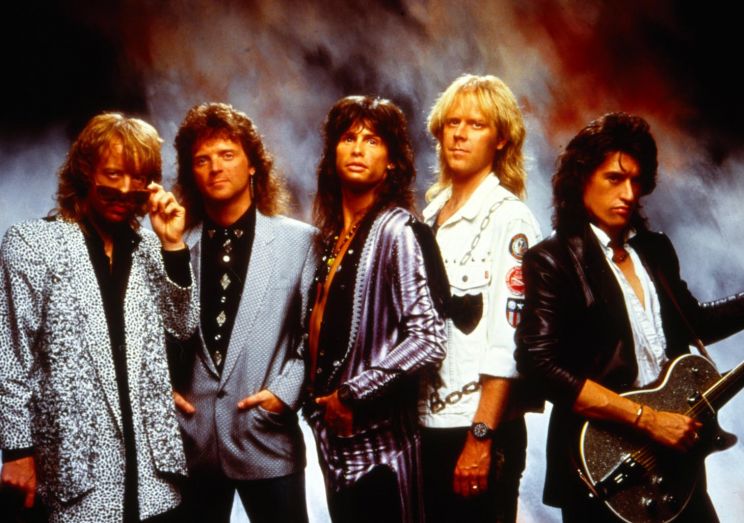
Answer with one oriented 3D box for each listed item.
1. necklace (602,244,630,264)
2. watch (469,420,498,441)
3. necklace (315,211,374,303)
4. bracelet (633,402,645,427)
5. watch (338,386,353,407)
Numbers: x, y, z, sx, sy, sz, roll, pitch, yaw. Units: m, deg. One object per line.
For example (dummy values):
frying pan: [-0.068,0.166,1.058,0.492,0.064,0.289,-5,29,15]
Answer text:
necklace: [1.133,-0.043,3.655,0.119,0.086,0.028,33,-26,-12]
watch: [0.489,0.733,3.435,0.079,0.084,0.079,-10,-4,-31]
necklace: [-0.144,-0.008,3.559,0.106,0.438,0.224,27,-27,-28]
bracelet: [1.163,0.672,3.423,0.039,0.080,0.029,6,7,2]
watch: [-0.110,0.574,3.338,0.068,0.070,0.071,-5,-31,2]
